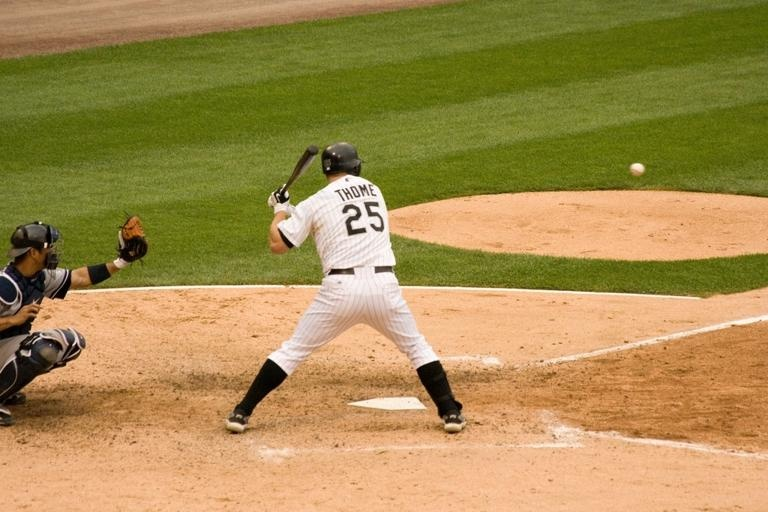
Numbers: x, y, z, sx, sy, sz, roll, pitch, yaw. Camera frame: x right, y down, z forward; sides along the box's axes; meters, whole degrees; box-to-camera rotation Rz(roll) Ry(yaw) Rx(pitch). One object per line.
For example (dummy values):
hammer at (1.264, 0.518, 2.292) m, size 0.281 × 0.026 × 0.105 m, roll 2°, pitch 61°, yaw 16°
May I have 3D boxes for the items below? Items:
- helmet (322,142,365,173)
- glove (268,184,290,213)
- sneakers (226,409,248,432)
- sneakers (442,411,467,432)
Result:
helmet at (-0.577, -1.301, 16.781) m, size 0.554 × 0.349 × 0.403 m, roll -12°, pitch 11°, yaw 15°
glove at (-1.437, -0.778, 16.941) m, size 0.362 × 0.378 × 0.197 m, roll -11°, pitch -12°, yaw -18°
sneakers at (-1.962, 2.189, 16.561) m, size 0.316 × 0.319 × 0.241 m, roll -4°, pitch 16°, yaw -8°
sneakers at (0.948, 2.210, 16.544) m, size 0.314 × 0.266 × 0.205 m, roll -2°, pitch 16°, yaw -2°
